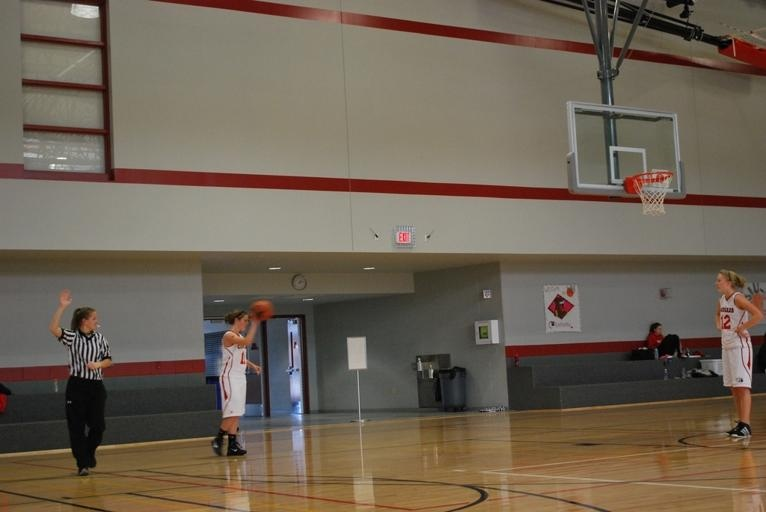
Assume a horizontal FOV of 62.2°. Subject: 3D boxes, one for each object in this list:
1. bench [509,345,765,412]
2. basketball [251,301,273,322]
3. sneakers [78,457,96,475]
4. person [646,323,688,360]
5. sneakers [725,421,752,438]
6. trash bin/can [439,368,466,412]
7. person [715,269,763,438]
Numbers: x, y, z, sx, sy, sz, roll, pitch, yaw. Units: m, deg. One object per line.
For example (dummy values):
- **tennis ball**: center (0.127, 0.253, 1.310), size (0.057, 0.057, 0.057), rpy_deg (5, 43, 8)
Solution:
- **bench**: center (5.428, 3.008, 15.080), size (4.685, 1.322, 0.903), rpy_deg (-2, -1, -25)
- **basketball**: center (-1.507, 0.657, 7.883), size (0.235, 0.245, 0.398), rpy_deg (-1, -7, -13)
- **sneakers**: center (-3.607, 2.591, 7.817), size (0.154, 0.205, 0.481), rpy_deg (-2, -18, -9)
- **person**: center (7.299, 2.173, 16.502), size (0.632, 0.920, 0.765), rpy_deg (7, -14, -34)
- **sneakers**: center (4.721, 2.257, 8.343), size (0.366, 0.154, 0.186), rpy_deg (9, -13, -36)
- **trash bin/can**: center (1.788, 3.410, 16.492), size (0.978, 1.231, 0.944), rpy_deg (-2, -11, 11)
- **person**: center (4.784, 1.259, 8.459), size (0.511, 2.237, 1.461), rpy_deg (-6, -7, 27)
